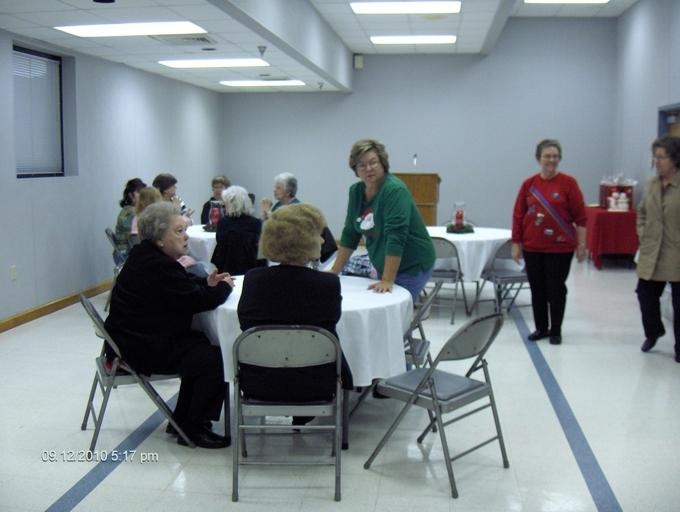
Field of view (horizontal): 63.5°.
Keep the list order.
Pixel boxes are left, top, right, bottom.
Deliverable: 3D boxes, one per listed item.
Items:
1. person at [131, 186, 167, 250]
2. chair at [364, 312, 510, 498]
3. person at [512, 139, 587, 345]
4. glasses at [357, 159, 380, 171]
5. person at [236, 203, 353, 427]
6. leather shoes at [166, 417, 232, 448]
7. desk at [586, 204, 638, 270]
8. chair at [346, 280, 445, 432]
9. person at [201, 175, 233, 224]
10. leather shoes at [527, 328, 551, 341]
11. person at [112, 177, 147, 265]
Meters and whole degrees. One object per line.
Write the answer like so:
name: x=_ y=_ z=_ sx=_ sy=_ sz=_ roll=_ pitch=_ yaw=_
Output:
person: x=-2.075 y=-0.467 z=6.057 sx=0.331 sy=0.751 sz=0.252 roll=7 pitch=42 yaw=-5
chair: x=0.680 y=0.741 z=3.647 sx=0.954 sy=1.399 sz=0.831 roll=6 pitch=7 yaw=40
person: x=1.951 y=-0.109 z=5.185 sx=0.649 sy=1.920 sz=0.385 roll=4 pitch=11 yaw=21
glasses: x=0.192 y=-0.611 z=3.704 sx=0.148 sy=0.075 sz=0.055 roll=0 pitch=11 yaw=3
person: x=-0.247 y=0.408 z=3.052 sx=0.630 sy=1.350 sz=0.435 roll=0 pitch=11 yaw=0
leather shoes: x=-0.934 y=1.159 z=3.591 sx=0.426 sy=0.200 sz=0.168 roll=0 pitch=2 yaw=1
desk: x=4.336 y=-0.394 z=9.086 sx=0.769 sy=0.836 sz=1.385 roll=3 pitch=18 yaw=16
chair: x=0.552 y=0.644 z=4.135 sx=0.865 sy=1.394 sz=0.746 roll=1 pitch=6 yaw=10
person: x=-1.759 y=-0.817 z=8.033 sx=0.398 sy=0.340 sz=0.977 roll=18 pitch=-27 yaw=-9
leather shoes: x=1.949 y=0.783 z=5.437 sx=0.234 sy=0.112 sz=0.092 roll=-2 pitch=3 yaw=-11
person: x=-2.565 y=-0.308 z=6.604 sx=0.395 sy=1.272 sz=0.338 roll=5 pitch=21 yaw=-24
